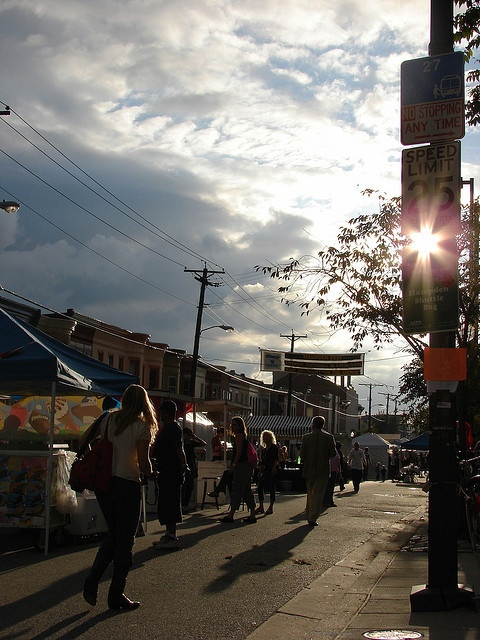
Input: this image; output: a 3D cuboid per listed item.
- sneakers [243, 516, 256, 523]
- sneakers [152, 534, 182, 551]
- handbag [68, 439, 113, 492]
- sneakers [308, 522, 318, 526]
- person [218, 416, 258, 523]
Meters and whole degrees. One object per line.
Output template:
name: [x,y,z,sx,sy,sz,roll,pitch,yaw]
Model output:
sneakers: [0.164,3.816,10.768,0.104,0.115,0.273,11,-14,-41]
sneakers: [-0.963,2.905,7.344,0.279,0.133,0.175,7,-11,-14]
handbag: [-1.158,1.138,4.394,0.356,0.430,0.277,2,-9,2]
sneakers: [1.323,3.768,10.425,0.156,0.051,0.153,1,-6,-8]
person: [0.011,2.954,11.179,0.654,2.011,1.090,3,-9,2]
